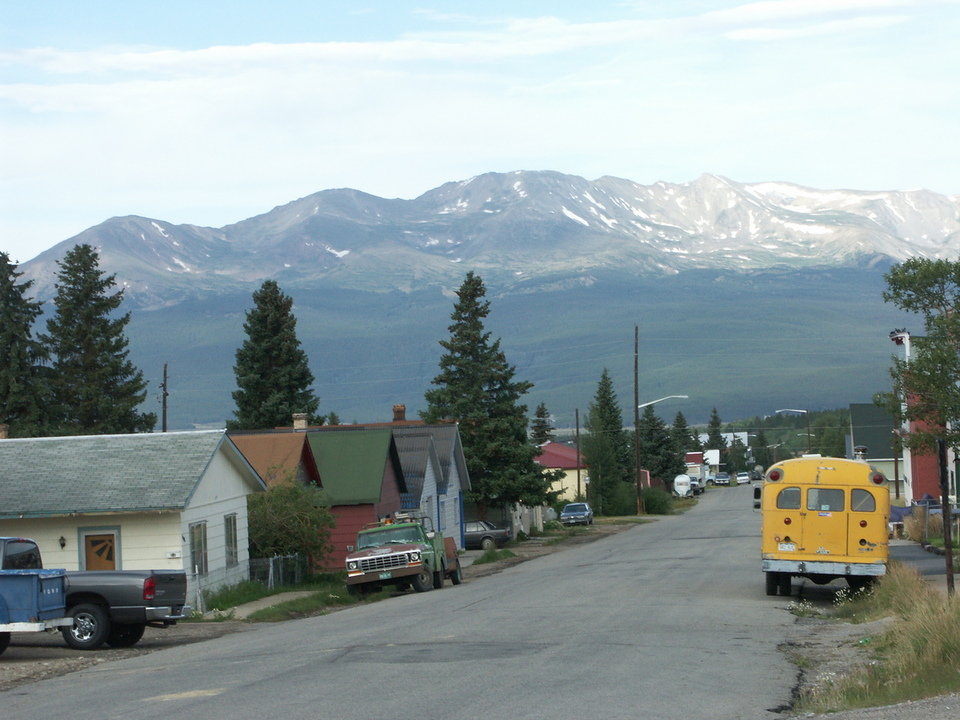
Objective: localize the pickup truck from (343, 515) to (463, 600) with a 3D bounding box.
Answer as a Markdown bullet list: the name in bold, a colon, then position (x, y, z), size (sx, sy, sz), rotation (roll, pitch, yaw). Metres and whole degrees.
- **pickup truck**: position (-2.501, 6.245, 53.255), size (2.769, 2.454, 5.829), rotation (-8, -7, 11)
